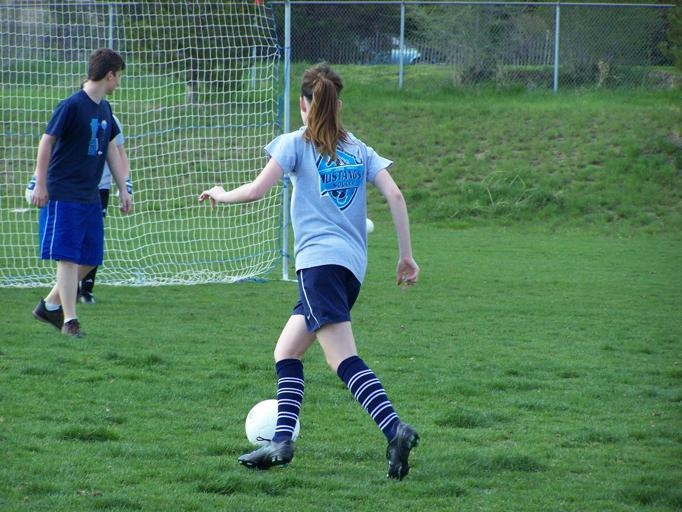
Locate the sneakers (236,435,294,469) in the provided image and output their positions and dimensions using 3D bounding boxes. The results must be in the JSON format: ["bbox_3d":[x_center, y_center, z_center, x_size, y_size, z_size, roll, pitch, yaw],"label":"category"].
[{"bbox_3d":[-0.681,1.909,9.947,0.578,0.226,0.278,-14,48,10],"label":"sneakers"}]

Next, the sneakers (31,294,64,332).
[{"bbox_3d":[-3.412,0.713,12.210,0.538,0.248,0.198,37,13,-39],"label":"sneakers"}]
